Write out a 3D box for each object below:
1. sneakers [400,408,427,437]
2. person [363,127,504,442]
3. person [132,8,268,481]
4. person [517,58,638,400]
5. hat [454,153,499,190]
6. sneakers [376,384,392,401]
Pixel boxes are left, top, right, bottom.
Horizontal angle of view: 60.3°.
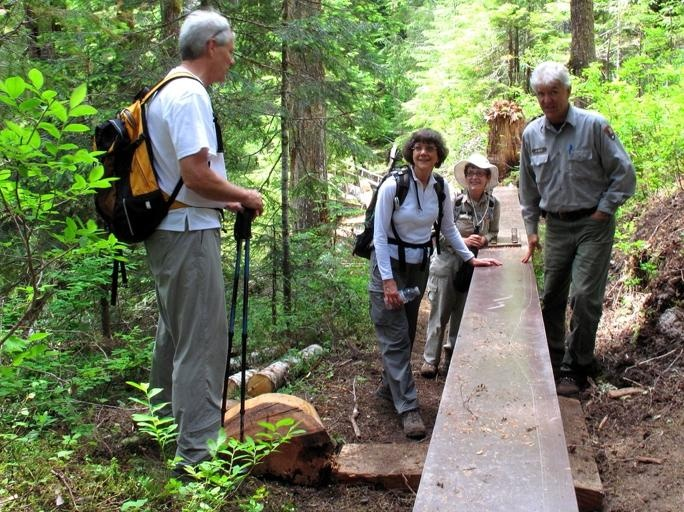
[{"bbox_3d":[0.631,1.486,5.207,0.253,0.231,0.207,2,14,20],"label":"sneakers"},{"bbox_3d":[0.760,0.190,5.416,0.968,2.643,0.957,-9,15,-24],"label":"person"},{"bbox_3d":[-0.938,-0.134,4.000,0.851,2.996,0.877,-8,14,-20],"label":"person"},{"bbox_3d":[2.117,-0.281,5.483,0.645,2.929,0.946,-9,15,-25],"label":"person"},{"bbox_3d":[1.502,-0.950,6.440,0.376,0.494,0.191,17,55,23],"label":"hat"},{"bbox_3d":[0.436,1.384,5.948,0.120,0.157,0.057,-2,-2,8],"label":"sneakers"}]
